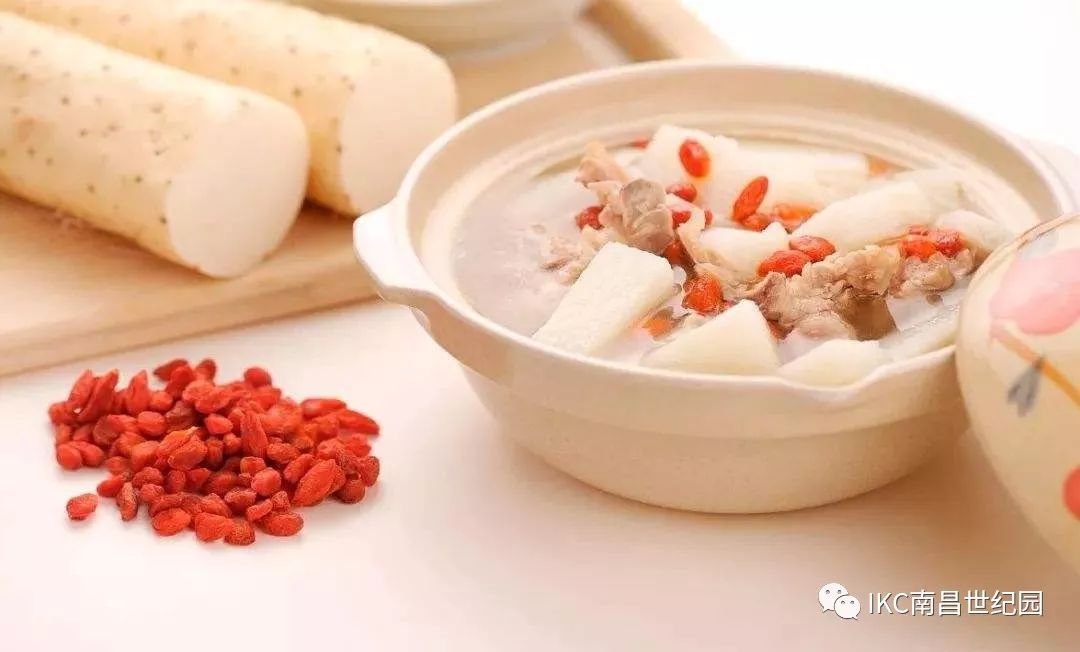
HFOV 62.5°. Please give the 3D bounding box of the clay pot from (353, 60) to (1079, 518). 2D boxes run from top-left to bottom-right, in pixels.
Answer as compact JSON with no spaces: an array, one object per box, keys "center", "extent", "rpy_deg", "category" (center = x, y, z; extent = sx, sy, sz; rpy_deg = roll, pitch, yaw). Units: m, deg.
[{"center":[0.294,-0.125,1.552],"extent":[0.974,0.364,0.914],"rpy_deg":[2,49,-2],"category":"clay pot"}]
